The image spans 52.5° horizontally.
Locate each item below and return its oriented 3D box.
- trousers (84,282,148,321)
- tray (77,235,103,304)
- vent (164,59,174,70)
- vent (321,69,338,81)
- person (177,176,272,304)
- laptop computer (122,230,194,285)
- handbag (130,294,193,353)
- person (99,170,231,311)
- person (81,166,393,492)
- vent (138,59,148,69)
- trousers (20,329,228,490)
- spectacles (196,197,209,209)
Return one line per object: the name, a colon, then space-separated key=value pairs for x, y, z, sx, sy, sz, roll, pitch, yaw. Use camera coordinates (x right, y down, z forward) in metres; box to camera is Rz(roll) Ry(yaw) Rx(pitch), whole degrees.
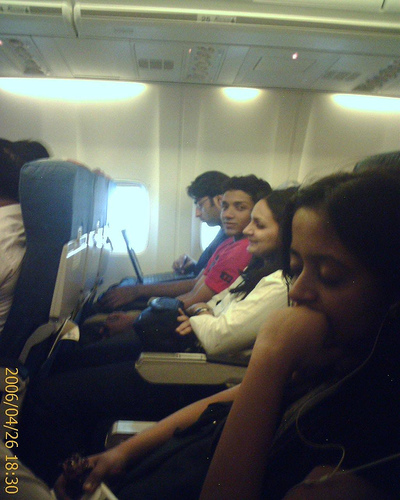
trousers: x=-0.468 y=0.294 z=2.273 sx=0.241 sy=0.164 sz=0.066 roll=-25 pitch=9 yaw=-5
tray: x=-0.644 y=0.090 z=2.265 sx=0.217 sy=0.363 sz=0.033 roll=0 pitch=-6 yaw=41
vent: x=-0.154 y=-0.945 z=2.053 sx=0.049 sy=0.041 sz=0.047 roll=3 pitch=8 yaw=-5
vent: x=0.666 y=-0.908 z=2.084 sx=0.049 sy=0.042 sz=0.064 roll=-1 pitch=9 yaw=-28
person: x=0.113 y=-0.114 z=2.597 sx=0.677 sy=0.868 sz=0.614 roll=3 pitch=8 yaw=9
laptop computer: x=-0.228 y=0.005 z=2.290 sx=0.351 sy=0.227 sz=0.311 roll=-6 pitch=10 yaw=-6
handbag: x=-0.211 y=0.427 z=2.293 sx=0.332 sy=0.308 sz=0.288 roll=4 pitch=13 yaw=22
person: x=-0.143 y=0.082 z=2.055 sx=0.611 sy=0.686 sz=0.466 roll=-17 pitch=50 yaw=-20
person: x=0.567 y=0.412 z=2.095 sx=0.918 sy=1.667 sz=0.247 roll=3 pitch=9 yaw=-3
vent: x=-0.284 y=-0.953 z=2.057 sx=0.042 sy=0.037 sz=0.028 roll=0 pitch=21 yaw=4
trousers: x=-0.469 y=0.819 z=2.586 sx=1.259 sy=0.991 sz=0.660 roll=-3 pitch=5 yaw=-7
spectacles: x=0.020 y=-0.260 z=2.180 sx=0.066 sy=0.025 sz=0.049 roll=-23 pitch=15 yaw=-30
